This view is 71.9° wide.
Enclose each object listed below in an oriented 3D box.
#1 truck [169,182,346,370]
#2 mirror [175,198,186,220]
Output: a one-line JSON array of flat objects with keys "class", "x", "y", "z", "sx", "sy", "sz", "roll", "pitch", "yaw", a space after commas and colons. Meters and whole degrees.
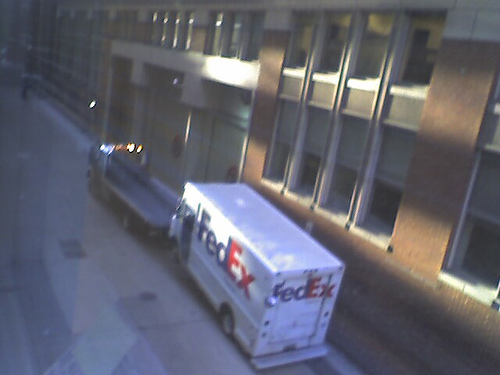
[{"class": "truck", "x": 0.033, "y": 0.695, "z": 3.671, "sx": 1.180, "sy": 1.034, "sz": 2.016, "roll": -1, "pitch": 29, "yaw": -31}, {"class": "mirror", "x": -0.967, "y": 0.299, "z": 4.743, "sx": 0.079, "sy": 0.289, "sz": 0.202, "roll": 17, "pitch": 0, "yaw": -16}]
